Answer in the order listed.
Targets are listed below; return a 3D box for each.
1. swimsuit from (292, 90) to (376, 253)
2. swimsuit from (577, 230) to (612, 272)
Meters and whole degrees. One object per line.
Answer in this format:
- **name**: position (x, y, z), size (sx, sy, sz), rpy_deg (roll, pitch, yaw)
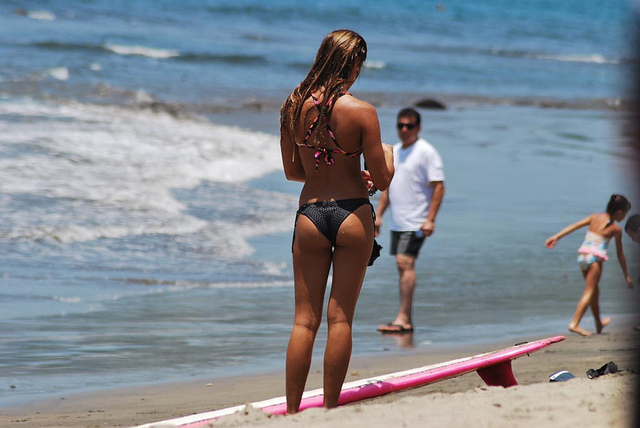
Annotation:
- **swimsuit**: position (0.165, -0.512, 11.305), size (0.944, 1.953, 0.311), rpy_deg (3, 5, -1)
- **swimsuit**: position (4.169, 0.554, 14.285), size (0.444, 0.625, 0.234), rpy_deg (4, 5, 14)
